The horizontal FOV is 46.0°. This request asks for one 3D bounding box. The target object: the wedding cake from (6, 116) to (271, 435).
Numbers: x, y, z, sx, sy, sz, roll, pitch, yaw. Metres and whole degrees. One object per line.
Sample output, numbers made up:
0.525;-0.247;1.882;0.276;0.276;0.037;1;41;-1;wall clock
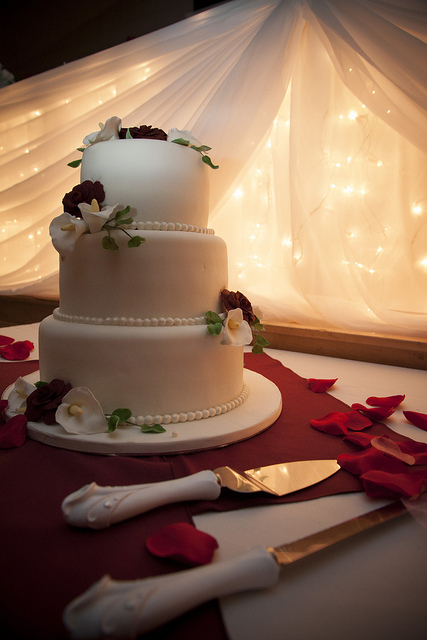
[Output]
-0.175;-0.114;1.578;0.770;0.825;0.848;0;9;0;wedding cake
